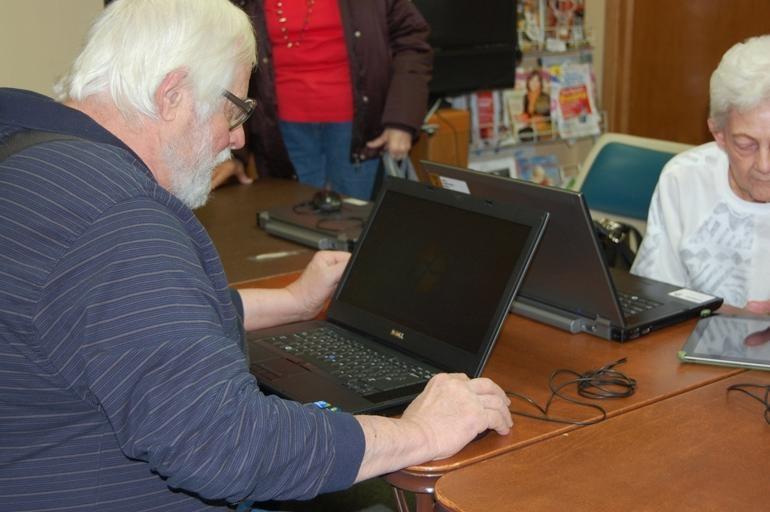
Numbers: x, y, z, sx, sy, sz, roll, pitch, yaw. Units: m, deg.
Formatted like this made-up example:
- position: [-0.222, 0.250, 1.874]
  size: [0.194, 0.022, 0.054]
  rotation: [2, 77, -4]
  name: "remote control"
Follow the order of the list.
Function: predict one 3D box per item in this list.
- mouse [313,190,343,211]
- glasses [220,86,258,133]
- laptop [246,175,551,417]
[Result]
- position: [-0.215, -0.220, 2.403]
  size: [0.088, 0.049, 0.086]
  rotation: [-15, 23, -42]
  name: "mouse"
- position: [-0.300, -0.300, 1.307]
  size: [0.021, 0.065, 0.063]
  rotation: [-31, 8, -13]
  name: "glasses"
- position: [0.038, 0.091, 1.530]
  size: [0.588, 0.370, 0.595]
  rotation: [-11, 19, -34]
  name: "laptop"
